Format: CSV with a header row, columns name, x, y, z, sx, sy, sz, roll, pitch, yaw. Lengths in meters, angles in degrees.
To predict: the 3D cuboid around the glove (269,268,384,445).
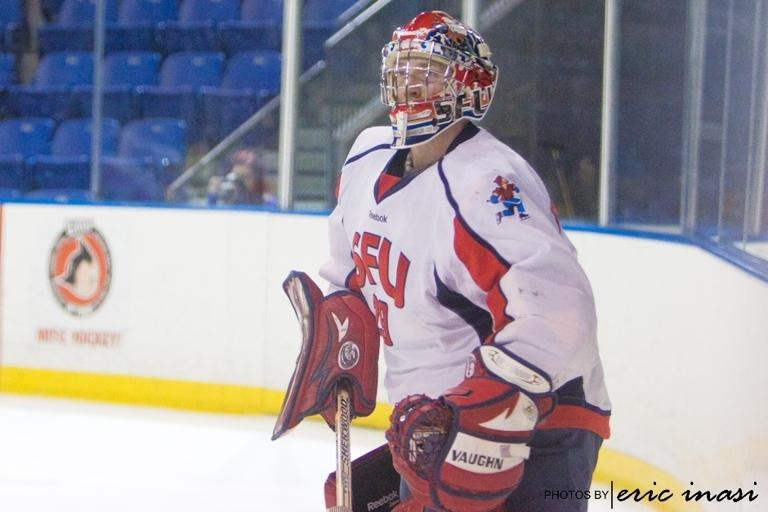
name,x,y,z,sx,sy,sz,roll,pitch,yaw
glove,-0.276,0.487,7.920,0.335,1.187,0.495,6,-2,-23
